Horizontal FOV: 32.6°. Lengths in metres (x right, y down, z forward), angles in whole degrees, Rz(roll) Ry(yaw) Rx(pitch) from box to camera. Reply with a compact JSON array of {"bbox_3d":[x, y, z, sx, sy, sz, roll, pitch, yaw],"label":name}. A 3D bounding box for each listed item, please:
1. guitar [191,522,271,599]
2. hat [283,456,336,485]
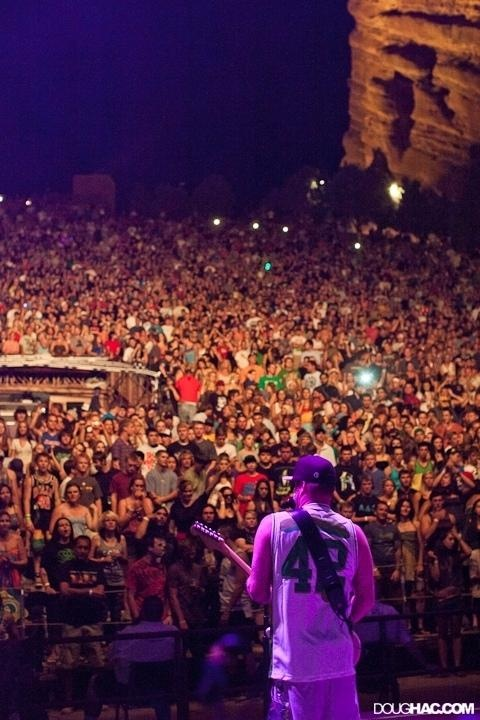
[{"bbox_3d":[-0.028,0.583,2.371,0.216,0.235,0.363,-2,-17,-5],"label":"guitar"},{"bbox_3d":[0.199,0.322,2.350,0.116,0.066,0.086,4,-8,20],"label":"hat"}]
